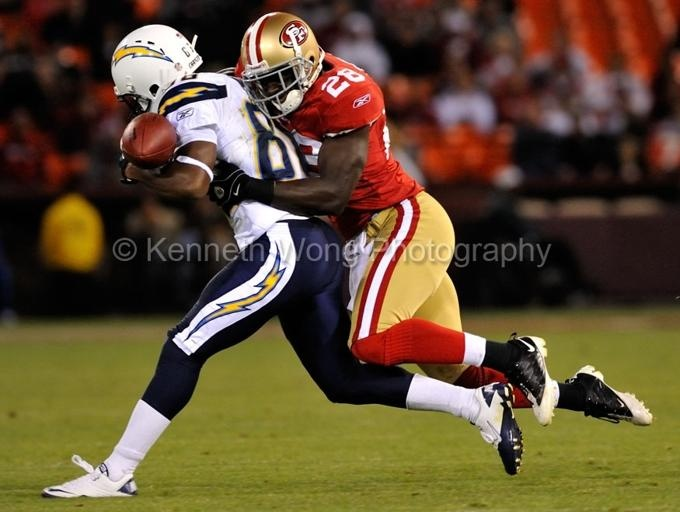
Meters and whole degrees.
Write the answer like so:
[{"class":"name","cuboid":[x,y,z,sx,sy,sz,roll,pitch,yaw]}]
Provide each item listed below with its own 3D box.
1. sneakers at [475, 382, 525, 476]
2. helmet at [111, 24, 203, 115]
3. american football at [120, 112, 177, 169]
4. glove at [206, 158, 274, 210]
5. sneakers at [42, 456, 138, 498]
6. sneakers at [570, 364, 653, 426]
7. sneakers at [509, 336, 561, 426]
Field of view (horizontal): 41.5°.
[{"class":"sneakers","cuboid":[0.805,0.850,4.687,0.237,0.503,0.182,-21,-2,2]},{"class":"helmet","cuboid":[-0.986,-0.970,4.683,0.498,0.422,0.381,-2,16,7]},{"class":"american football","cuboid":[-0.970,-0.614,4.527,0.332,0.249,0.416,0,31,-7]},{"class":"glove","cuboid":[-0.514,-0.371,4.570,0.320,0.181,0.125,14,37,-6]},{"class":"sneakers","cuboid":[-1.218,1.120,4.566,0.514,0.226,0.181,4,-12,-4]},{"class":"sneakers","cuboid":[1.667,0.863,5.521,0.475,0.215,0.169,34,-25,0]},{"class":"sneakers","cuboid":[1.037,0.634,4.875,0.250,0.525,0.194,-9,-22,-7]}]
